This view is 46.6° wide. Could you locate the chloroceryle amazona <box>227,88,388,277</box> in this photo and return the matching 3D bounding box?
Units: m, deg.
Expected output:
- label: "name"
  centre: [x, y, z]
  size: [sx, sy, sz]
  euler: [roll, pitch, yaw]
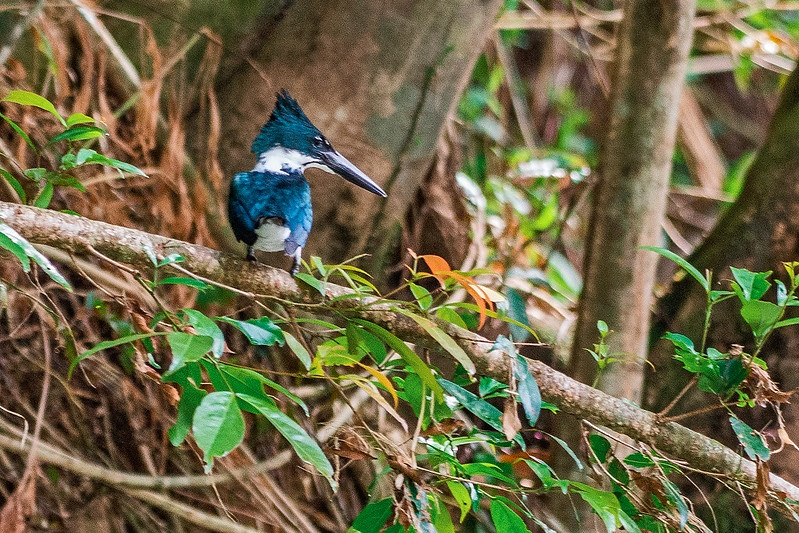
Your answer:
- label: "chloroceryle amazona"
  centre: [-0.351, -0.313, 3.486]
  size: [0.658, 0.600, 0.244]
  euler: [7, 1, -23]
